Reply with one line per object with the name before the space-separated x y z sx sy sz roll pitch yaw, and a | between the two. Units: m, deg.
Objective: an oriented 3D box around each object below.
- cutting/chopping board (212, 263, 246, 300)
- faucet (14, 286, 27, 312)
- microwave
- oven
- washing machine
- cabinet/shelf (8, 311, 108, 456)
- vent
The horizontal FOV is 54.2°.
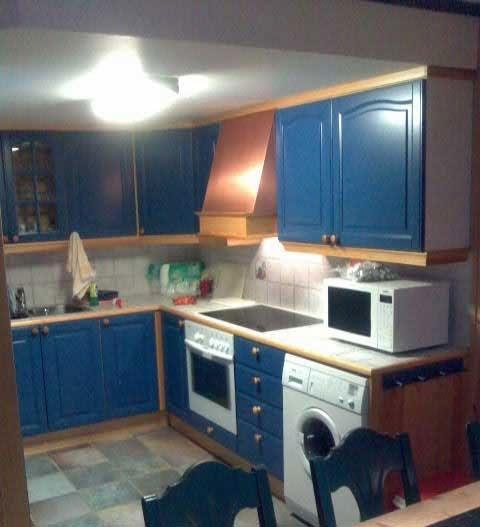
cutting/chopping board | -0.135 0.145 4.045 0.140 0.290 0.487 -3 3 -35
faucet | -1.754 0.289 3.764 0.073 0.196 0.124 -1 3 -1
microwave | 0.695 0.243 2.326 0.619 0.321 0.355 0 3 31
oven | -0.187 0.792 3.200 0.255 0.730 0.380 -3 7 -22
washing machine | 0.380 0.862 2.304 0.374 0.895 0.408 -1 9 -21
cabinet/shelf | -1.338 0.830 3.507 0.602 0.851 0.387 -5 10 -38
vent | -0.007 -0.591 3.188 0.237 0.935 0.549 -7 13 -29
